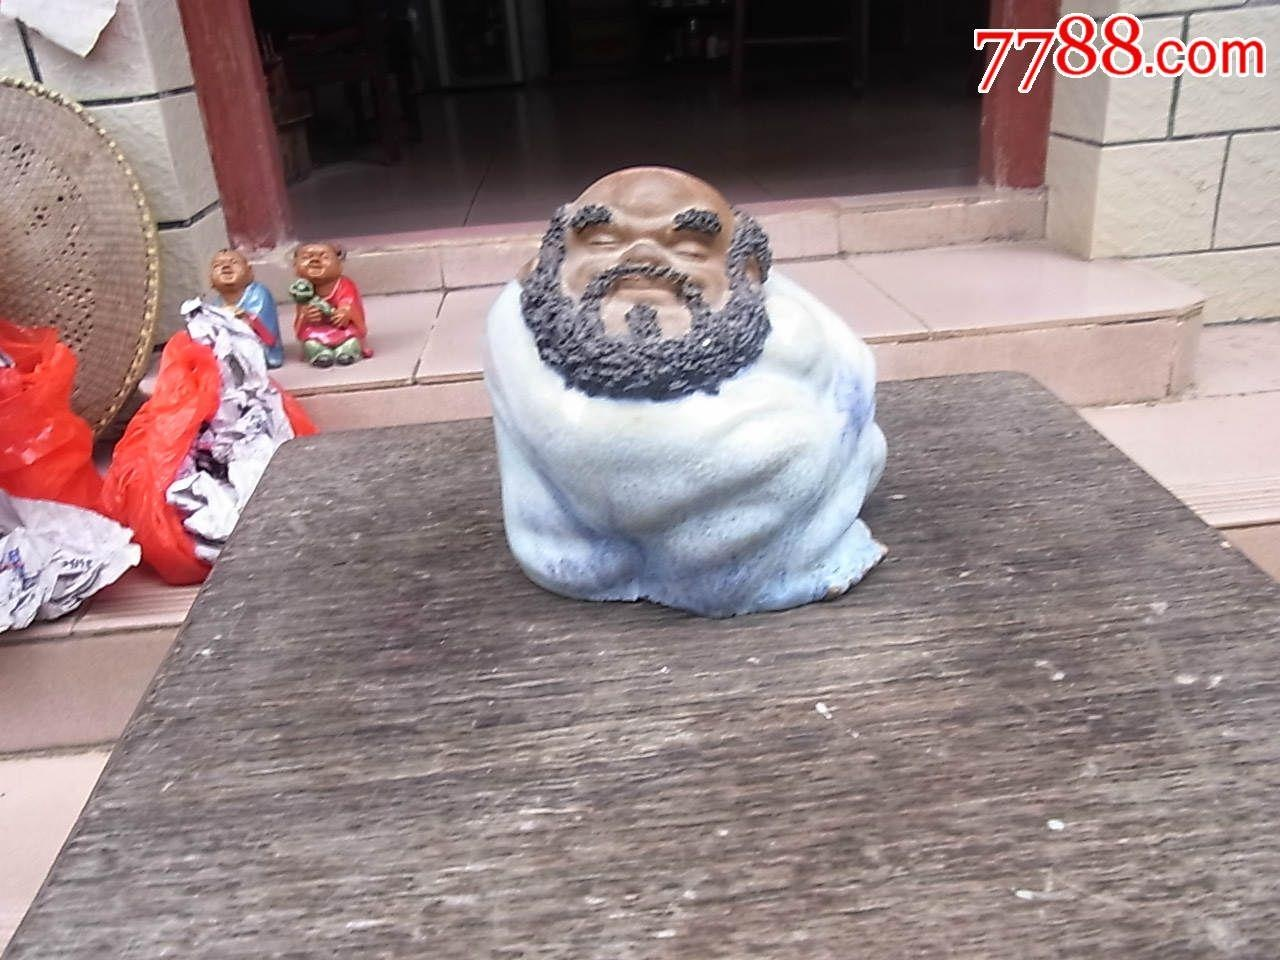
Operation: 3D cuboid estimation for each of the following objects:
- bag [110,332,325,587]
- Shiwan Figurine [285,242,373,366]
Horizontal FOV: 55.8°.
[{"bbox_3d":[-1.211,-0.051,3.114,0.308,0.562,0.465,-7,32,-4],"label":"bag"},{"bbox_3d":[-0.946,-0.537,3.611,0.210,0.350,0.288,-12,33,-12],"label":"Shiwan Figurine"}]
